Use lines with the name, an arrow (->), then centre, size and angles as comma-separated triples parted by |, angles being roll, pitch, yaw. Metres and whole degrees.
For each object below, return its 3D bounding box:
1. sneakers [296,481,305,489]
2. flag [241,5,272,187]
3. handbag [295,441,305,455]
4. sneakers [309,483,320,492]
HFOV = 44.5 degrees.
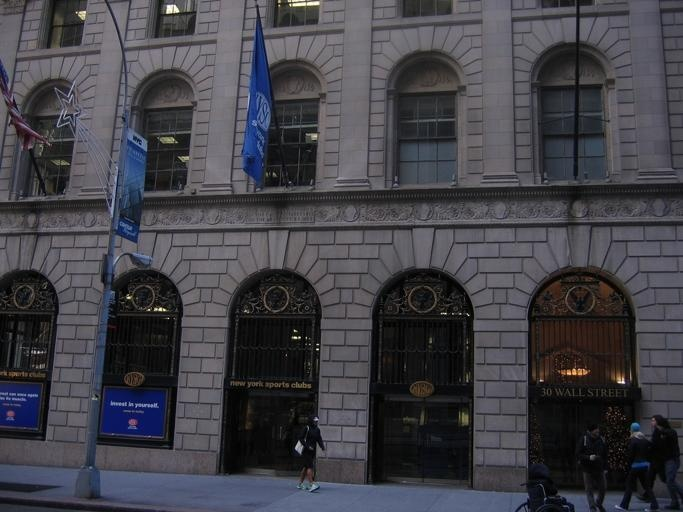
sneakers -> -1.292, 7.080, 25.752 | 0.121, 0.153, 0.329 | 7, -13, -39
flag -> -2.790, -5.476, 27.657 | 0.546, 5.727, 1.483 | 0, -4, 8
handbag -> -1.304, 5.728, 25.136 | 0.244, 0.395, 0.378 | 3, -4, -33
sneakers -> -0.843, 7.048, 25.420 | 0.143, 0.180, 0.383 | 0, -24, -35
